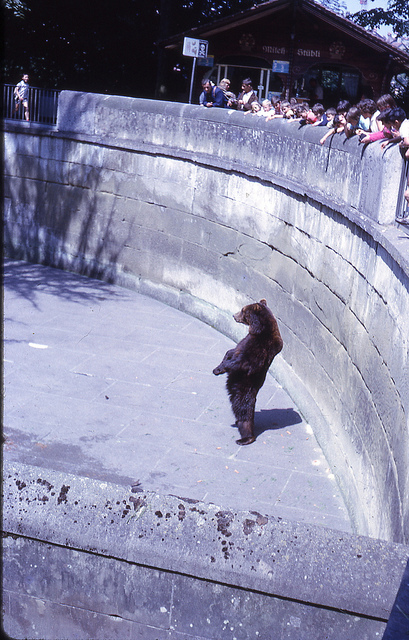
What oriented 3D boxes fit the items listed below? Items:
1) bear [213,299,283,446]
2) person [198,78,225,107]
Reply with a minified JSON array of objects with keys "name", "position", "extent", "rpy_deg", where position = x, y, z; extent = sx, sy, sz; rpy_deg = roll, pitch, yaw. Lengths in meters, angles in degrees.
[{"name":"bear","position":[0.513,0.674,6.715],"extent":[0.736,1.863,0.581],"rpy_deg":[0,7,-38]},{"name":"person","position":[0.174,-4.783,11.589],"extent":[0.498,0.730,0.764],"rpy_deg":[4,6,0]}]
